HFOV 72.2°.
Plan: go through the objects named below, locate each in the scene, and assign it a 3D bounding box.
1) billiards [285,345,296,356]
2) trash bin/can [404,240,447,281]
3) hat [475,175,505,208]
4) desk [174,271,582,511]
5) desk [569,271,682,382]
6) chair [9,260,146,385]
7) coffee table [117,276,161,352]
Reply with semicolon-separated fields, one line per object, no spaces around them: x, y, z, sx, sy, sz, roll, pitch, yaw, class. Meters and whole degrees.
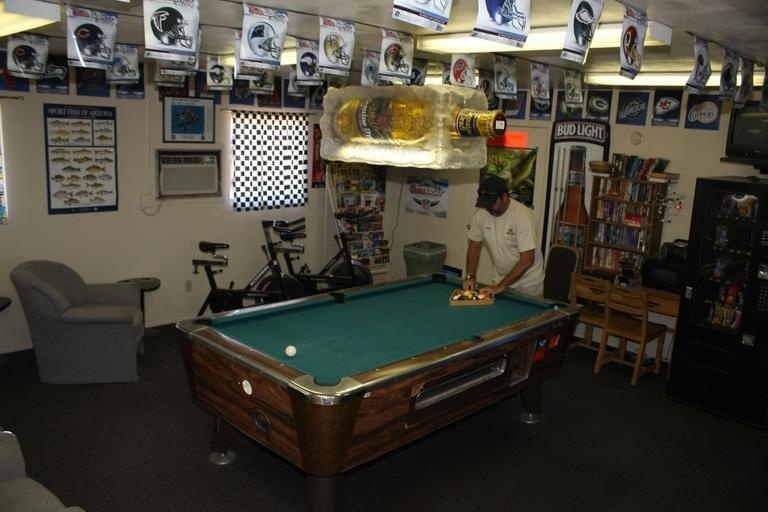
-0.685;0.694;3.896;0.074;0.074;0.076;3;10;-42;billiards
0.586;0.142;8.215;0.507;0.616;0.463;11;13;33;trash bin/can
1.133;-0.679;5.478;0.281;0.216;0.417;3;11;-28;hat
-0.050;1.018;4.526;2.920;1.102;1.615;-9;16;-30;desk
2.879;0.818;6.215;0.853;1.206;0.898;-14;22;-39;desk
-3.362;0.677;6.046;1.379;1.124;1.372;7;12;4;chair
-3.006;0.637;6.477;0.448;0.533;0.415;5;-13;-23;coffee table
